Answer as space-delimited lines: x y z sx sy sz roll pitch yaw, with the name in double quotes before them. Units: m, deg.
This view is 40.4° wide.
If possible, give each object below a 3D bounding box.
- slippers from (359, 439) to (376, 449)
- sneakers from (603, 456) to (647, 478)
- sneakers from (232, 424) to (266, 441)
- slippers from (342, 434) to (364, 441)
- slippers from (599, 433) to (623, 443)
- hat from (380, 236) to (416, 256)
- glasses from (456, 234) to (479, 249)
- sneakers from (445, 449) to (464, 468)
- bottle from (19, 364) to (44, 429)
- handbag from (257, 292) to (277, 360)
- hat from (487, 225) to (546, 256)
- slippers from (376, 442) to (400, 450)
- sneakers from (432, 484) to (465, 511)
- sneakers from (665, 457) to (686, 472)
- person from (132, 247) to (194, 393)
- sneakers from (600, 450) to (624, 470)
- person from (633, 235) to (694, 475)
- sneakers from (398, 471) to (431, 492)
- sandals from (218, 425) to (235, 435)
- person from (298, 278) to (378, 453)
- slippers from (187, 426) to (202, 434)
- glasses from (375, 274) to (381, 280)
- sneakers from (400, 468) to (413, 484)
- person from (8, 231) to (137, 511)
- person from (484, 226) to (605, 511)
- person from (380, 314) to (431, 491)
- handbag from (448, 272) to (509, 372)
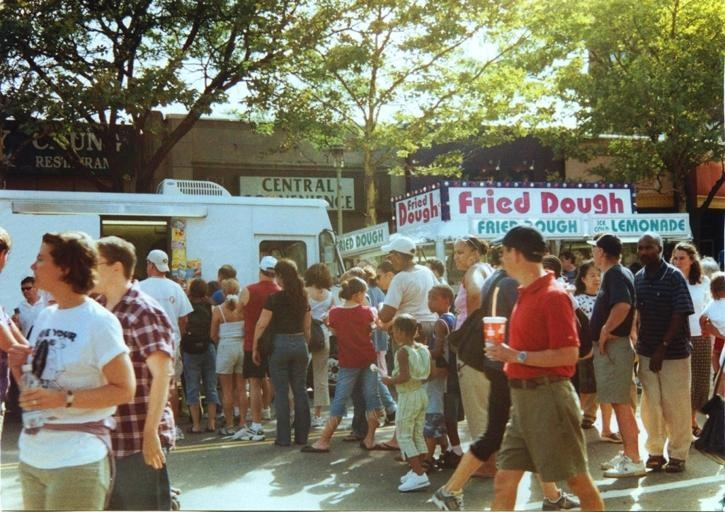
"slippers" 0.029 2.625 13.682 0.121 0.128 0.291 -1 -4 -43
"sneakers" 3.289 2.640 12.344 0.581 0.258 0.223 0 -7 0
"sneakers" -1.644 2.557 14.263 0.476 0.237 0.211 2 -8 6
"slippers" -0.110 2.616 14.134 0.346 0.146 0.108 1 -11 9
"slippers" 3.444 2.515 13.647 0.263 0.110 0.108 -2 -7 23
"hat" 0.489 -0.139 13.627 0.471 0.232 0.337 4 1 7
"glasses" 1.377 -0.184 12.714 0.233 0.117 0.188 -1 3 -41
"sneakers" 1.165 2.636 12.759 0.265 0.257 0.165 -7 -5 13
"bottle" -3.281 1.378 9.701 0.280 0.643 0.204 -4 -3 9
"handbag" -1.391 1.009 13.945 0.230 0.918 0.366 -3 -3 -27
"hat" 1.772 -0.163 10.760 0.432 0.227 0.322 15 4 12
"slippers" 0.348 2.635 13.636 0.315 0.086 0.115 3 -12 0
"sneakers" 0.973 2.764 11.292 0.376 0.278 0.235 -5 -3 24
"sneakers" 3.938 2.626 12.401 0.292 0.130 0.142 -4 -3 -1
"person" -2.798 0.627 14.733 0.526 0.873 1.963 -11 -44 -2
"sneakers" 3.184 2.590 12.490 0.158 0.194 0.450 10 -29 -36
"person" 3.838 1.214 12.479 0.718 2.163 0.383 -5 -3 14
"sneakers" 0.634 2.782 12.187 0.312 0.112 0.235 0 -2 -5
"sandals" -2.015 2.577 14.528 0.243 0.130 0.380 -3 -3 -14
"person" -0.226 1.500 13.629 0.888 2.363 0.417 -4 -3 -2
"slippers" -2.502 2.588 14.695 0.211 0.095 0.284 -3 -3 -11
"glasses" 0.240 0.349 16.381 0.067 0.095 0.026 11 17 32
"sneakers" 0.551 2.766 12.368 0.147 0.171 0.402 0 -12 -7
"person" -2.912 1.158 9.858 1.170 2.771 0.500 -3 -3 -15
"person" 1.906 1.202 10.618 1.092 3.066 0.396 -5 -3 11
"person" 0.585 1.833 12.431 0.601 2.153 0.529 -4 -3 2
"handbag" 1.247 0.876 12.238 1.071 1.075 0.789 -1 -4 15
